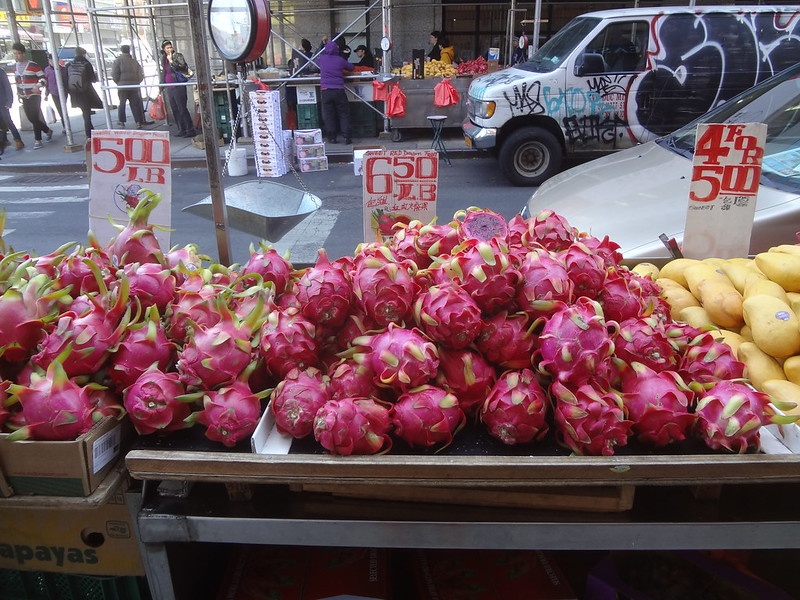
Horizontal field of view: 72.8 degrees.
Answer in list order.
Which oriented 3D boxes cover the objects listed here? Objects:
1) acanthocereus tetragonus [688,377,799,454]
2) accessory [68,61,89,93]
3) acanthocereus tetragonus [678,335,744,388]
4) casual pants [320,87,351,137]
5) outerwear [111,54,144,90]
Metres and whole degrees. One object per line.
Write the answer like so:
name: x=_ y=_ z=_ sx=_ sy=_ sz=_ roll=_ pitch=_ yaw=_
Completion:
acanthocereus tetragonus: x=0.922 y=0.313 z=1.462 sx=0.280 sy=0.166 sz=0.149 roll=-1 pitch=22 yaw=2
accessory: x=-5.889 y=-4.072 z=9.927 sx=0.337 sy=0.532 sz=0.258 roll=-9 pitch=23 yaw=-16
acanthocereus tetragonus: x=0.915 y=0.202 z=1.647 sx=0.153 sy=0.149 sz=0.153 roll=19 pitch=69 yaw=16
casual pants: x=-1.182 y=-3.467 z=10.203 sx=0.513 sy=1.033 sz=0.336 roll=-8 pitch=-3 yaw=-4
outerwear: x=-5.079 y=-4.287 z=10.117 sx=0.522 sy=0.498 sz=0.650 roll=-12 pitch=23 yaw=-23
